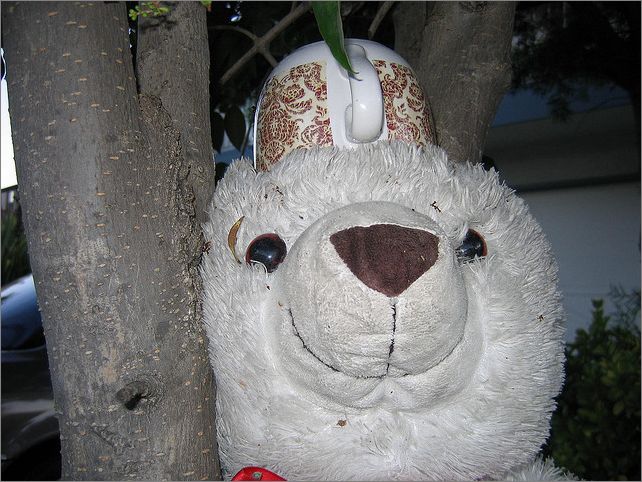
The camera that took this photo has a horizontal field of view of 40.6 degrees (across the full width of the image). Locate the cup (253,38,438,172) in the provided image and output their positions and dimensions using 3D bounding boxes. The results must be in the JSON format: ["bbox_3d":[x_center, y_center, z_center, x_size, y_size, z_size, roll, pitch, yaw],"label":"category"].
[{"bbox_3d":[0.052,-0.387,2.424,0.335,0.363,0.445,-7,-14,-19],"label":"cup"}]
